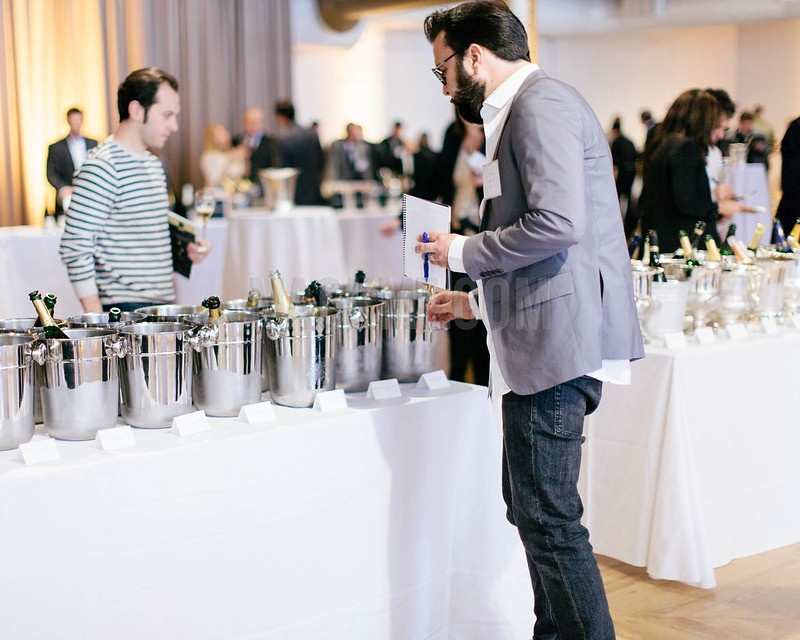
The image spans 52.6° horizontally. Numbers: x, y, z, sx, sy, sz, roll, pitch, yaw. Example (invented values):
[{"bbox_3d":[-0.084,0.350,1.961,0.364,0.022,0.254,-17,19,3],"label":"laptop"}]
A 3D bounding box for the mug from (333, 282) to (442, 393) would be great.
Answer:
[{"bbox_3d":[-0.036,0.034,2.152,0.213,0.243,0.273,-2,1,-19],"label":"mug"}]

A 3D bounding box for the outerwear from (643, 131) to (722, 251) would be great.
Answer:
[{"bbox_3d":[1.232,-0.505,3.581,0.272,0.584,0.410,-3,2,2],"label":"outerwear"}]

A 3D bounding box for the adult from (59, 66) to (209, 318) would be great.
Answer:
[{"bbox_3d":[-0.876,-0.403,2.563,0.396,0.744,0.225,-6,7,-16],"label":"adult"}]

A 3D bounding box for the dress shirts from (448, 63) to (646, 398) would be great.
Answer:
[{"bbox_3d":[0.344,-0.205,1.944,0.423,0.786,0.529,-3,2,14],"label":"dress shirts"}]

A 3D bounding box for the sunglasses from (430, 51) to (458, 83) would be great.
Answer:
[{"bbox_3d":[0.098,-0.587,1.880,0.014,0.054,0.050,-11,2,23],"label":"sunglasses"}]

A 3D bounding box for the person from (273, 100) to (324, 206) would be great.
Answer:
[{"bbox_3d":[-0.684,-1.157,5.573,0.308,0.741,0.487,-4,7,-7],"label":"person"}]

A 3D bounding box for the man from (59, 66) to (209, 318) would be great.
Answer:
[{"bbox_3d":[-0.876,-0.403,2.563,0.396,0.744,0.225,-6,7,-16],"label":"man"}]

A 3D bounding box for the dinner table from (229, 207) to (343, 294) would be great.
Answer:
[{"bbox_3d":[-0.660,-0.414,4.653,0.594,0.640,0.601,-2,0,-19],"label":"dinner table"}]
